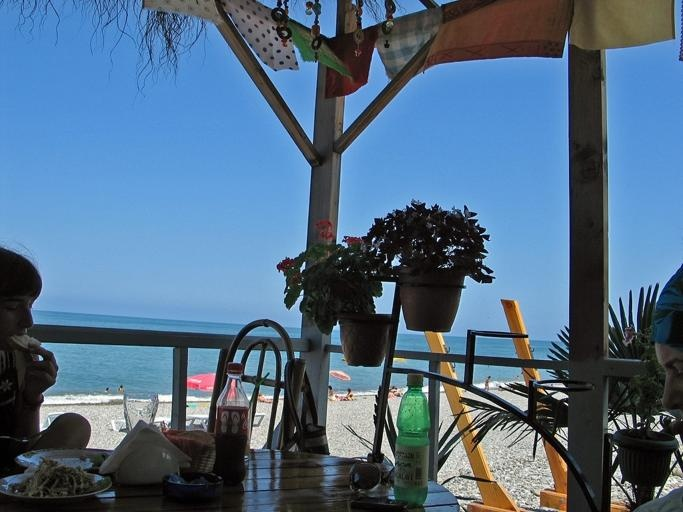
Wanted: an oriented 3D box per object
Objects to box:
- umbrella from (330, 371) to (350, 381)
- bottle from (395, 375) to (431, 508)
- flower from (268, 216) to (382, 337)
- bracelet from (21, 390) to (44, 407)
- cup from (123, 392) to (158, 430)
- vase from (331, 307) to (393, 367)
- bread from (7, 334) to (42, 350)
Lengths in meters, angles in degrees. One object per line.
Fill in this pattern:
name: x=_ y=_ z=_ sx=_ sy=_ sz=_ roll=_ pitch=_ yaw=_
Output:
umbrella: x=-0.009 y=3.141 z=15.972 sx=0.651 sy=0.225 sz=0.455 roll=7 pitch=-12 yaw=-15
bottle: x=0.185 y=0.474 z=1.586 sx=0.087 sy=0.329 sz=0.158 roll=1 pitch=-10 yaw=8
flower: x=-0.066 y=0.084 z=2.549 sx=0.386 sy=0.403 sz=0.434 roll=-7 pitch=0 yaw=4
bracelet: x=-0.976 y=0.447 z=1.920 sx=0.053 sy=0.026 sz=0.050 roll=2 pitch=-2 yaw=-15
cup: x=-0.565 y=0.432 z=1.719 sx=0.103 sy=0.137 sz=0.095 roll=0 pitch=-13 yaw=0
vase: x=0.086 y=0.295 z=2.248 sx=0.178 sy=0.161 sz=0.189 roll=2 pitch=-5 yaw=-13
bread: x=-0.973 y=0.270 z=1.904 sx=0.077 sy=0.047 sz=0.132 roll=6 pitch=-12 yaw=-12
